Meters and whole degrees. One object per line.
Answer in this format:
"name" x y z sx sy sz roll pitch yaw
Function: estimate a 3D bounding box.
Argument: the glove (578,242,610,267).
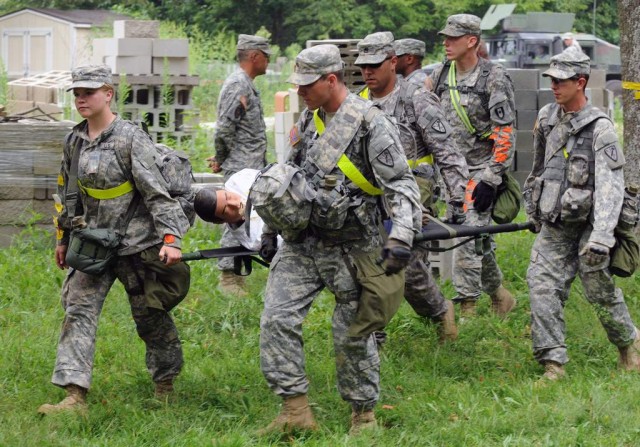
"glove" 2.383 0.233 7.495 0.225 0.233 0.079 19 42 -11

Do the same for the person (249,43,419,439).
"person" 0.130 0.217 7.110 1.495 3.110 1.138 1 4 24

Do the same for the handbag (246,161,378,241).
"handbag" -0.016 -0.134 6.904 0.709 0.359 0.528 4 10 5

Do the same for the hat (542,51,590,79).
"hat" 2.227 -1.457 7.839 0.521 0.279 0.365 -9 11 -27

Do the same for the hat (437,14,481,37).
"hat" 1.452 -1.998 8.784 0.338 0.164 0.253 2 10 1

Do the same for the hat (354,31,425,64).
"hat" 0.682 -1.621 8.021 0.705 0.268 0.406 -5 4 -41

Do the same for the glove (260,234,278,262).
"glove" -0.452 0.209 7.373 0.155 0.211 0.090 15 7 35

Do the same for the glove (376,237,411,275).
"glove" 0.558 0.256 6.609 0.207 0.257 0.276 29 -4 -12

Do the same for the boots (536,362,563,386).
"boots" 2.070 1.350 7.714 0.232 0.174 0.311 5 7 15

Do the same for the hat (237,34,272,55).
"hat" -0.734 -2.027 9.735 0.313 0.180 0.243 -4 15 -14

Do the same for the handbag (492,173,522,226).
"handbag" 1.846 -0.242 8.577 0.266 0.503 0.367 5 7 16

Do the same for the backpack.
"backpack" -1.463 -0.484 7.374 0.485 0.684 0.699 -13 -4 40

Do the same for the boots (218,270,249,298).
"boots" -0.961 0.663 9.530 0.392 0.387 0.235 -1 -1 -14

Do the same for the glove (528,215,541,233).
"glove" 2.019 0.012 8.095 0.152 0.148 0.115 1 0 -7

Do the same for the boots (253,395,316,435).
"boots" -0.222 1.517 7.063 0.384 0.262 0.134 -6 -4 41

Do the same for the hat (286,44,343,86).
"hat" -0.050 -1.277 6.846 0.503 0.249 0.357 -22 27 -27

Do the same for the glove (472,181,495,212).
"glove" 1.628 -0.264 8.553 0.232 0.316 0.228 3 7 5

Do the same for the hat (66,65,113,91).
"hat" -1.877 -1.204 7.123 0.322 0.218 0.210 1 7 -13
